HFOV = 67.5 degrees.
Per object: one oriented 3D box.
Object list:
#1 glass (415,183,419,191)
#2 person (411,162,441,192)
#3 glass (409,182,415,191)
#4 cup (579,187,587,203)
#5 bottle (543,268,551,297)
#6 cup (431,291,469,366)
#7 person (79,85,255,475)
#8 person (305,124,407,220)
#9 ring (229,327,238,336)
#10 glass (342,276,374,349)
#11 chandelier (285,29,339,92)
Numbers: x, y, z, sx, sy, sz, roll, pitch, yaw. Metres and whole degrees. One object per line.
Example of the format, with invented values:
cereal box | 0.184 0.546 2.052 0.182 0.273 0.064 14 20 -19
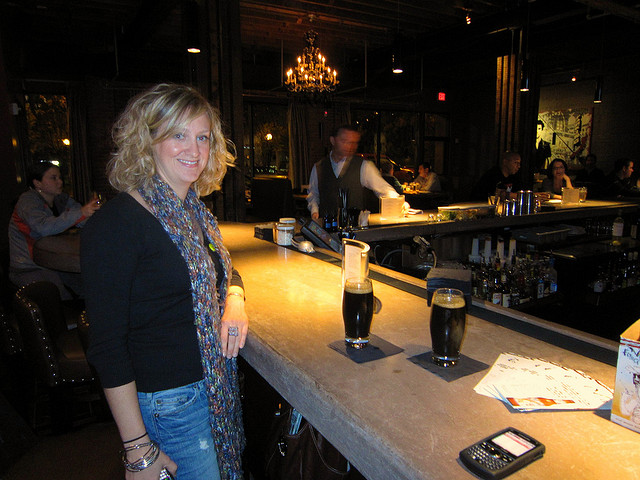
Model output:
glass | 1.827 -0.988 8.991 0.051 0.123 0.221 3 12 10
person | 2.079 -1.219 9.403 0.547 0.816 0.534 0 2 17
glass | 1.729 -1.000 9.016 0.082 0.132 0.327 3 12 12
cup | 2.633 -0.445 4.808 0.063 0.127 0.230 7 14 28
bottle | 1.492 0.285 3.150 0.057 0.133 0.227 6 13 24
cup | 0.438 0.278 1.565 0.173 0.240 0.089 -8 15 -34
person | -0.547 0.161 1.789 0.687 1.433 0.521 -11 17 -42
person | 0.266 -0.628 4.462 0.759 0.848 0.482 0 12 -3
ring | -0.322 0.339 1.776 0.028 0.029 0.007 2 -10 -9
glass | 0.134 0.256 1.656 0.099 0.218 0.102 1 11 0
chandelier | -0.178 -3.046 8.170 0.945 1.327 0.960 -9 23 -15
